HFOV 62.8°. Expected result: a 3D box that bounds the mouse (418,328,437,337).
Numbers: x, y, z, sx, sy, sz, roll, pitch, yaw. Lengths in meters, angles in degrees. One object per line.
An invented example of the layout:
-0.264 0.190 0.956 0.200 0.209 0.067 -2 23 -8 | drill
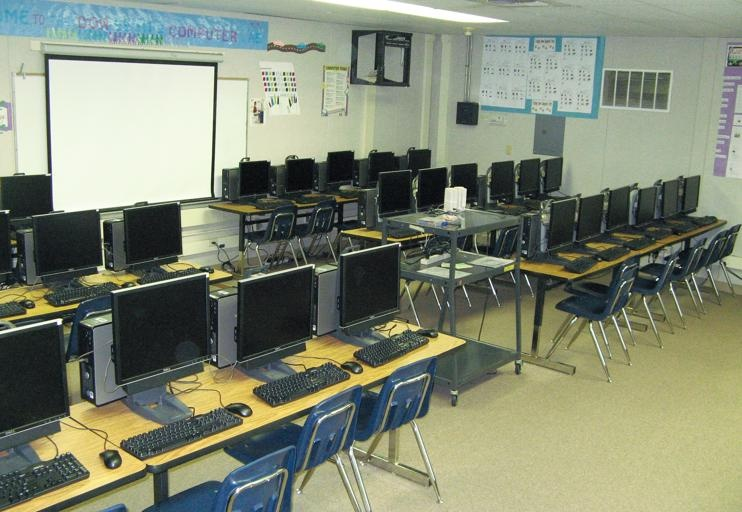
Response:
0.447 0.613 4.834 0.118 0.035 0.064 10 14 22 | mouse

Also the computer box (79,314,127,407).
-1.636 0.635 3.624 0.233 0.580 0.248 -9 17 -25 | computer box

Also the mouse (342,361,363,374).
-0.130 0.776 4.218 0.127 0.029 0.073 17 24 40 | mouse

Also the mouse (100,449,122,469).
-1.391 1.084 3.238 0.086 0.061 0.139 -10 16 -32 | mouse

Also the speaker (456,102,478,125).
1.714 -2.566 10.869 0.432 0.364 0.150 10 16 39 | speaker

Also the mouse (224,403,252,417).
-0.798 0.927 3.672 0.134 0.034 0.076 14 12 26 | mouse
